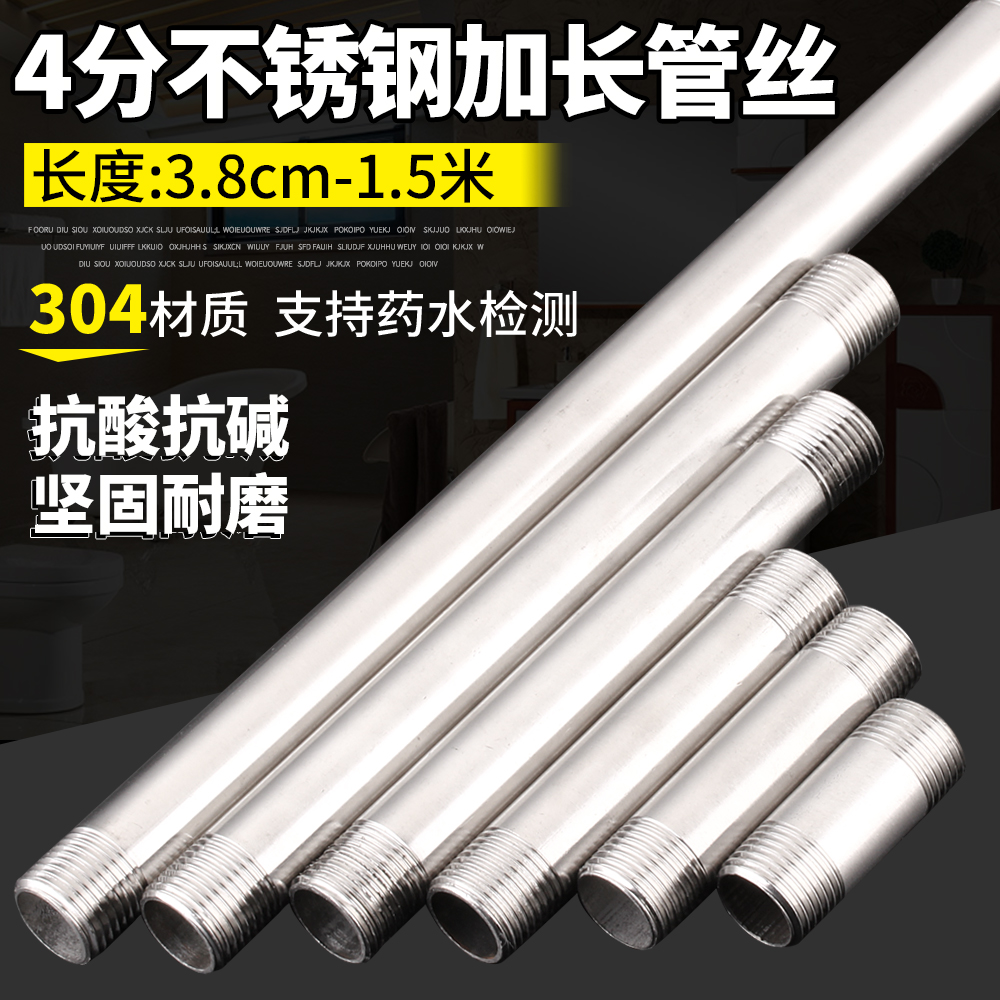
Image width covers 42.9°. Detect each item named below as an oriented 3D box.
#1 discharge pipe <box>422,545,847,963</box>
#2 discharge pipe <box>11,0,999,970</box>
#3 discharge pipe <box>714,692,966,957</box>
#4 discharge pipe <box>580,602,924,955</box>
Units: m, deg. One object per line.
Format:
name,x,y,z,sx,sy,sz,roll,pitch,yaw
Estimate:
discharge pipe,0.103,0.073,0.582,0.307,0.066,0.067,-39,46,-17
discharge pipe,0.053,0.007,0.549,0.200,0.041,0.528,34,62,24
discharge pipe,0.143,0.116,0.533,0.132,0.050,0.048,-39,30,-24
discharge pipe,0.129,0.105,0.568,0.213,0.066,0.058,-37,38,-21
